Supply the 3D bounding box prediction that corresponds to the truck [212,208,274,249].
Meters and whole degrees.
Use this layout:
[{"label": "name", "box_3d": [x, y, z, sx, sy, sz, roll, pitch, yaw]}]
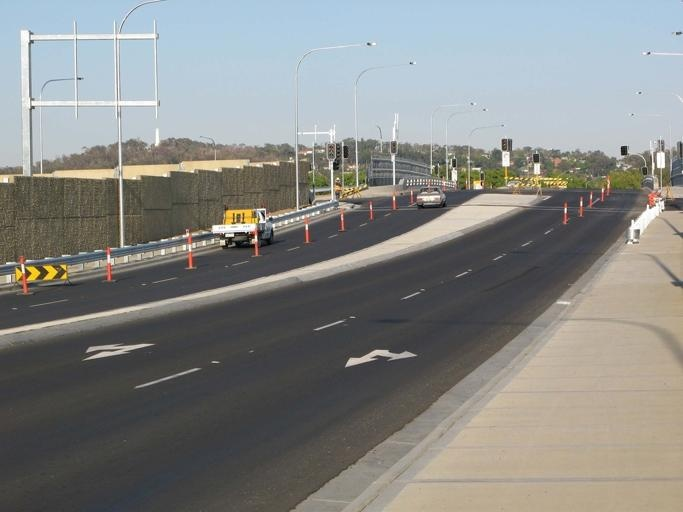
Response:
[{"label": "truck", "box_3d": [-4.604, -0.897, 47.675, 2.109, 1.792, 3.548, -5, -13, 7]}]
